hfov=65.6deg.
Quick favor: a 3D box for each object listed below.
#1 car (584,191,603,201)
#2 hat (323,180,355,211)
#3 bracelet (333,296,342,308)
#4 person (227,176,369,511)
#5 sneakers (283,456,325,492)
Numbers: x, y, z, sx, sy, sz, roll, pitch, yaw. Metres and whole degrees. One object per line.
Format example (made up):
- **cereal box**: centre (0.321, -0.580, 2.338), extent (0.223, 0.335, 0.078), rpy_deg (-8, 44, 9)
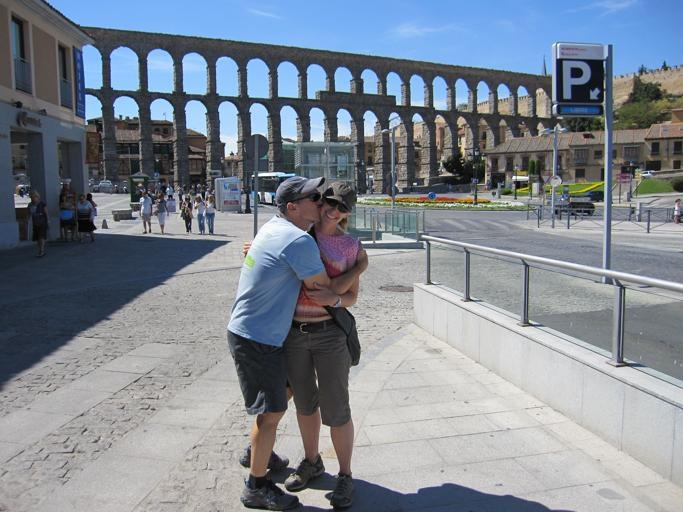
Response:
- **car**: centre (27.290, -6.549, 56.805), extent (2.744, 1.125, 1.241), rpy_deg (2, 2, -19)
- **hat**: centre (-0.008, -0.474, 4.097), extent (0.190, 0.129, 0.251), rpy_deg (7, 15, -3)
- **bracelet**: centre (-0.023, 0.341, 3.879), extent (0.034, 0.078, 0.066), rpy_deg (19, -3, -8)
- **person**: centre (-0.430, 0.641, 3.978), extent (0.810, 2.438, 0.495), rpy_deg (-2, 7, -13)
- **sneakers**: centre (-0.278, 1.734, 4.227), extent (0.139, 0.172, 0.375), rpy_deg (-2, -3, 34)
